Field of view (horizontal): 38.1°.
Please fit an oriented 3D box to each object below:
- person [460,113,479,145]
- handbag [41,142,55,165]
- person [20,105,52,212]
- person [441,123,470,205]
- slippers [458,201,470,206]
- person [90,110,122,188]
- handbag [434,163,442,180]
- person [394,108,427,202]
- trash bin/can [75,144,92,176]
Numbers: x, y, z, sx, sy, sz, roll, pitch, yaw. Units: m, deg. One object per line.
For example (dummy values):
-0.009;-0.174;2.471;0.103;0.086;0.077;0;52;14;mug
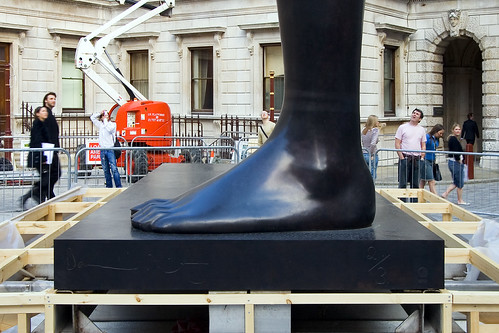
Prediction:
6.274;-0.973;20.503;0.427;1.250;0.319;5;32;24;person
-3.366;-0.235;12.209;0.306;0.386;0.089;-2;1;40;handbag
-3.586;-0.174;12.180;0.542;1.648;0.855;-2;8;-11;person
3.869;-0.019;13.456;0.474;1.389;1.551;2;8;17;person
3.909;0.671;13.138;0.152;0.057;0.192;2;2;9;slippers
-2.771;-0.317;14.011;0.520;1.522;2.065;-2;8;-12;person
3.403;0.087;13.003;0.115;0.318;0.292;5;9;37;handbag
2.891;-0.233;12.928;0.532;1.595;0.630;2;7;14;person
-3.265;-0.124;14.351;0.280;0.723;2.257;-2;9;-12;trash bin/can
